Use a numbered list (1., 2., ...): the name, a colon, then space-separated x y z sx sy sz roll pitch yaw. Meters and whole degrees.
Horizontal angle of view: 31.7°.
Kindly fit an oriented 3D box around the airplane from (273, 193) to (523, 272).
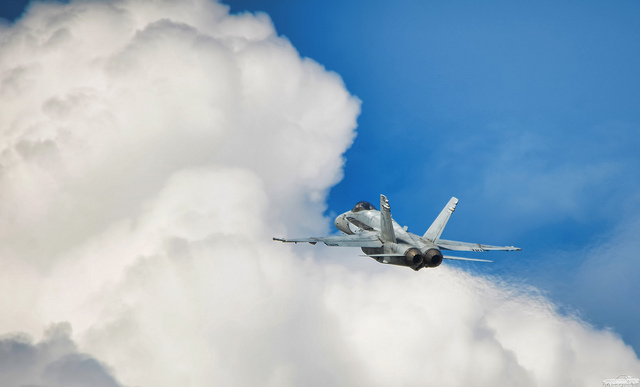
1. airplane: 7.437 3.439 110.167 12.219 6.950 8.410 19 16 23
